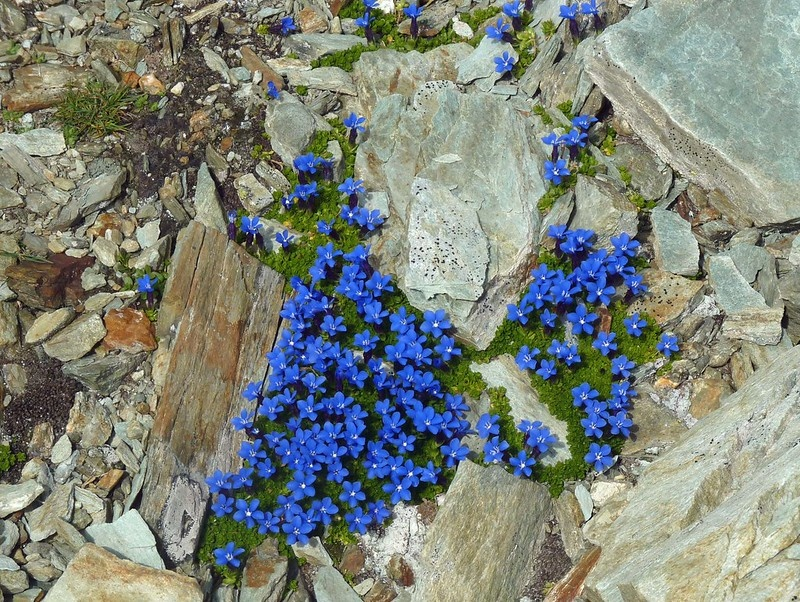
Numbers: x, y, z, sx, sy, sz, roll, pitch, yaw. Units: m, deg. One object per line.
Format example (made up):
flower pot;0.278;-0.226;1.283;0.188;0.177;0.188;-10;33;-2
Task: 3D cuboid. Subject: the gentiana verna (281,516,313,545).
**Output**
gentiana verna;-1.241;2.841;14.221;0.379;0.259;0.349;-29;82;-4

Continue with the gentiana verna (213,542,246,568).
gentiana verna;-2.092;3.197;14.186;0.309;0.170;0.385;-8;54;-9
